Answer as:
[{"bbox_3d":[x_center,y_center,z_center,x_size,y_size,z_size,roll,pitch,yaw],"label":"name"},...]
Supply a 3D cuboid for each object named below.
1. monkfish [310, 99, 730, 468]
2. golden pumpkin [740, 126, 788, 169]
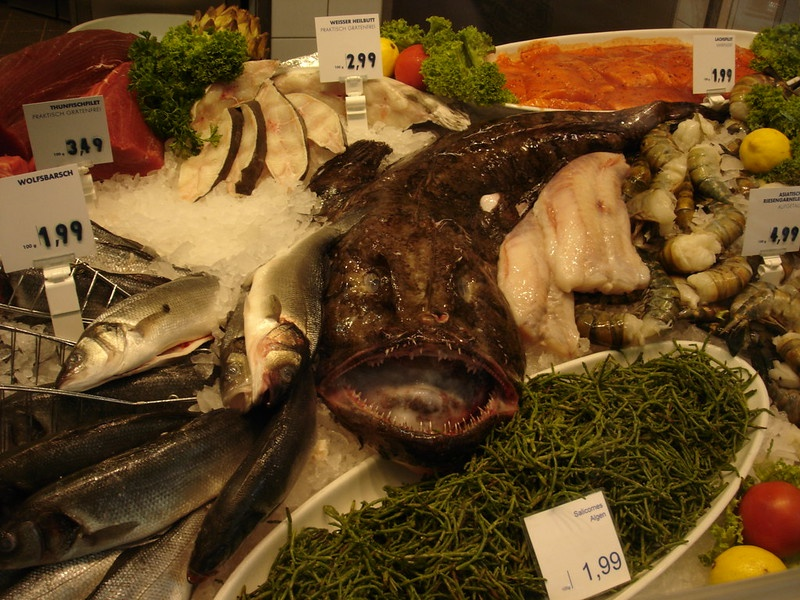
[{"bbox_3d":[0.175,-0.085,2.738,1.354,0.509,1.593,10,54,10],"label":"monkfish"},{"bbox_3d":[1.965,-0.808,3.260,0.260,0.193,0.194,-1,6,-34],"label":"golden pumpkin"}]
